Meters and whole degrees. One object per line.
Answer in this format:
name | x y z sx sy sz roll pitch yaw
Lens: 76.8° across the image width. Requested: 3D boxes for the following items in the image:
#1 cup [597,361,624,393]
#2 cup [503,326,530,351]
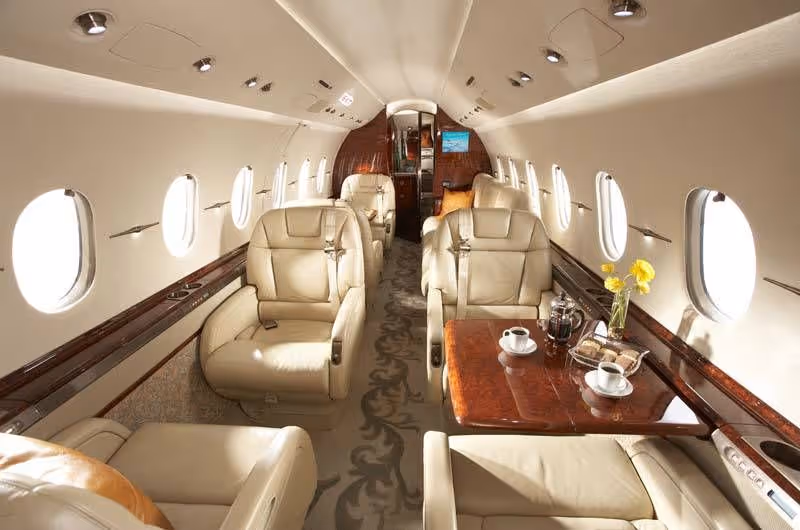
cup | 1.200 0.651 2.943 0.124 0.114 0.155 -5 18 -22
cup | 0.754 0.479 3.270 0.159 0.109 0.110 4 10 29
